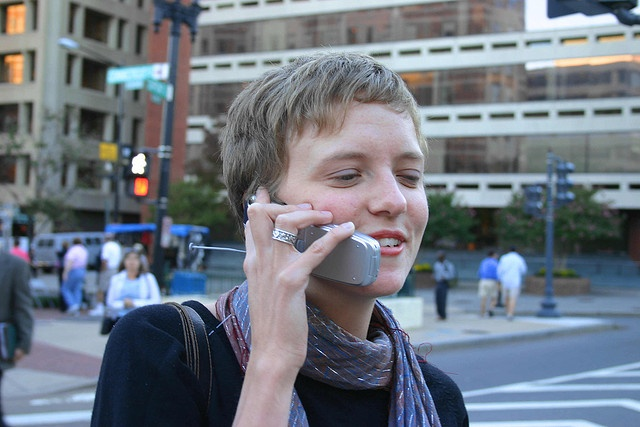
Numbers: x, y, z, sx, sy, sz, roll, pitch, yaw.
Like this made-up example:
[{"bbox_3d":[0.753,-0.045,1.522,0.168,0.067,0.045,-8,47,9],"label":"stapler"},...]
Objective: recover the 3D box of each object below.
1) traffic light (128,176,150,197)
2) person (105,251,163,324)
[{"bbox_3d":[-2.304,-0.350,11.863,0.058,0.306,0.432,6,5,16],"label":"traffic light"},{"bbox_3d":[-2.380,0.986,11.776,0.644,1.053,0.569,3,-2,-6],"label":"person"}]
